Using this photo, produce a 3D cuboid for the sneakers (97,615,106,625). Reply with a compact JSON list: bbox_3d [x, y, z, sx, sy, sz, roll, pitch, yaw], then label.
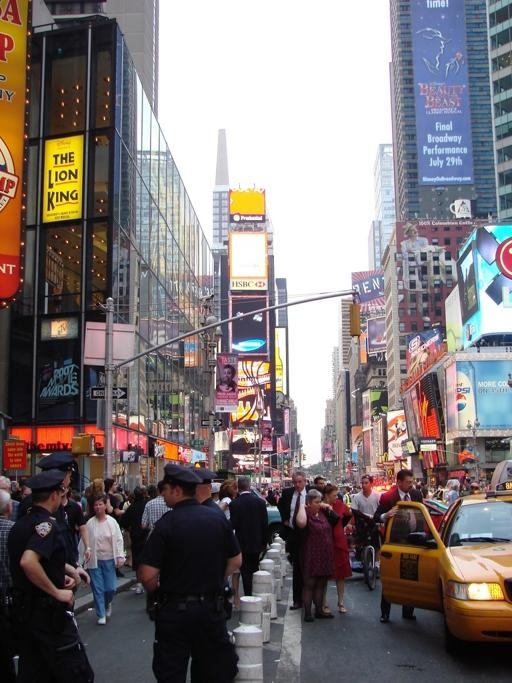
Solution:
[{"bbox_3d":[-2.173,3.934,10.241,0.064,0.091,0.205,2,-22,-6],"label":"sneakers"}]
